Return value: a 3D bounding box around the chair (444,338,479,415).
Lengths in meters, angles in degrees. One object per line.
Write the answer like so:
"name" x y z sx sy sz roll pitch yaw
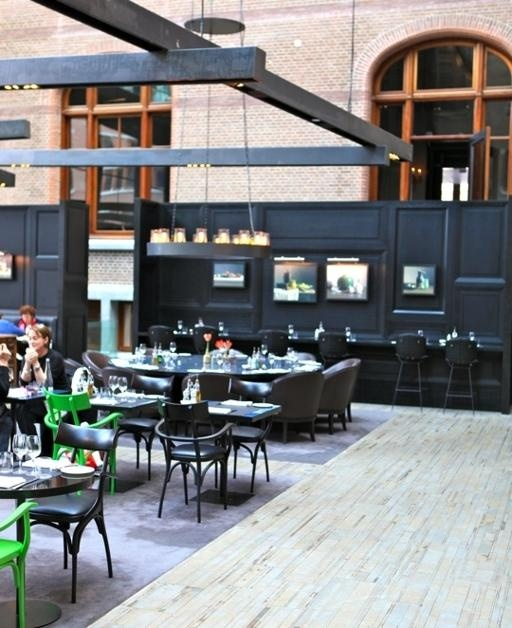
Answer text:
"chair" 2.784 0.828 10.101 0.439 1.013 0.732 1 0 15

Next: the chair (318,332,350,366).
"chair" 1.143 0.474 10.578 0.453 0.554 0.520 2 9 20

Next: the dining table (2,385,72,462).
"dining table" -1.836 0.869 6.008 0.629 0.547 0.608 2 3 18

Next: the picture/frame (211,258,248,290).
"picture/frame" -0.402 -0.647 11.951 0.549 0.397 0.070 2 0 22

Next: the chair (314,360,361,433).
"chair" 1.026 0.934 8.769 0.826 0.810 0.716 1 3 14

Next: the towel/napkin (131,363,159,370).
"towel/napkin" -1.272 0.607 8.423 0.288 0.062 0.486 1 0 -21

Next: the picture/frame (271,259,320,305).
"picture/frame" 0.647 -0.498 11.520 0.784 0.657 0.105 1 -1 29

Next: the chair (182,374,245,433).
"chair" -0.442 0.863 7.353 0.536 0.604 0.528 1 7 9

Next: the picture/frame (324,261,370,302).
"picture/frame" 1.410 -0.489 11.226 0.670 0.520 0.071 2 1 27

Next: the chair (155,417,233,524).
"chair" -0.473 1.221 5.663 0.682 0.776 0.568 5 9 34

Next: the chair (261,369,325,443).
"chair" 0.439 0.944 7.698 0.686 0.779 0.757 -2 6 -21

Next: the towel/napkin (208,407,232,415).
"towel/napkin" -0.281 0.748 5.731 0.110 0.023 0.101 4 6 17

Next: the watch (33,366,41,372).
"watch" -1.813 0.460 6.143 0.048 0.045 0.043 3 1 -21

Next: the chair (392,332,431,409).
"chair" 2.141 0.804 10.384 0.456 1.051 0.899 1 0 10

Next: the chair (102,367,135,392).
"chair" -1.287 0.619 6.940 0.245 0.250 0.249 4 7 27

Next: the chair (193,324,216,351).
"chair" -0.789 0.373 10.835 0.363 0.402 0.386 2 9 3

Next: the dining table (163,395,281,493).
"dining table" -0.215 0.987 6.068 0.835 0.724 0.818 2 6 26

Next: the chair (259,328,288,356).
"chair" 0.283 0.409 10.592 0.344 0.404 0.386 1 6 8

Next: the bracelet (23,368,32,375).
"bracelet" -1.937 0.485 6.281 0.053 0.036 0.051 2 -2 12

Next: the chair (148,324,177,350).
"chair" -1.455 0.336 10.871 0.371 0.440 0.415 3 9 12
